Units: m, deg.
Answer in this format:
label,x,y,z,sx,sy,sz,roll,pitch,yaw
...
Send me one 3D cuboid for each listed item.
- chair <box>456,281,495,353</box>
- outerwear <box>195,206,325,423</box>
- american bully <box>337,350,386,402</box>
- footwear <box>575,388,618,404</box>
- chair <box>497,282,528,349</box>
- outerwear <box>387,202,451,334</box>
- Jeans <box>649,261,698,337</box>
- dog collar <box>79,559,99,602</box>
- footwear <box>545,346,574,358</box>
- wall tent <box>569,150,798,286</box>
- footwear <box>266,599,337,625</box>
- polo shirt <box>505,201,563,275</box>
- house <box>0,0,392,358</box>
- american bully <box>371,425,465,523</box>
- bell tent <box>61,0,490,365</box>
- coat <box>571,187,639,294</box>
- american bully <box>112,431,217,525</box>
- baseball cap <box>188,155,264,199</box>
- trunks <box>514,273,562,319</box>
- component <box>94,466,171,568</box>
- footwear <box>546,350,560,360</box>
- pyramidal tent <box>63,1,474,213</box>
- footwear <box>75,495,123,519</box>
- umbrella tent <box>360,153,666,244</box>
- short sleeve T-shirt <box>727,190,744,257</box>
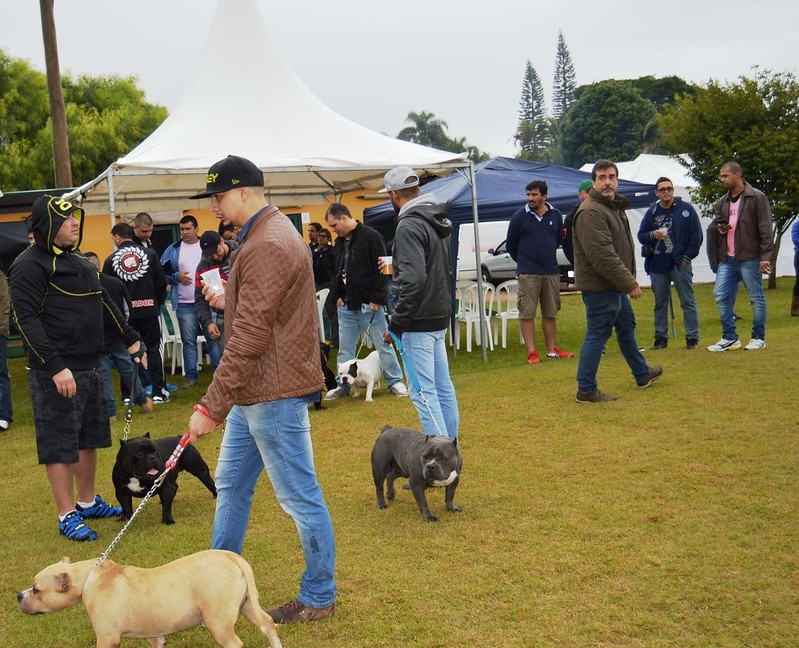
label,x,y,z,sx,sy,sz,roll,pitch,yaw
chair,1.105,-0.131,12.486,0.619,1.024,0.630,-2,3,-16
outerwear,-0.858,-0.087,4.891,0.737,1.182,0.433,-8,13,-17
american bully,-0.430,0.591,9.868,0.390,0.551,1.035,-1,12,21
footwear,2.051,0.723,8.496,0.401,0.188,0.161,-2,4,-3
chair,1.674,-0.153,12.282,0.492,0.869,0.524,15,9,-1
outerwear,0.204,-0.521,6.804,0.442,1.062,1.046,1,10,22
Jeans,3.603,-0.327,10.788,0.533,1.407,0.345,-4,-35,15
dog collar,-1.751,1.448,4.626,0.070,0.190,0.139,9,-4,27
footwear,2.175,0.364,11.084,0.437,0.209,0.150,-1,7,3
wall tent,8.101,-3.672,22.524,5.166,3.581,5.162,-1,11,1
footwear,-0.623,1.784,5.126,0.412,0.171,0.141,7,-12,-7
polo shirt,1.834,-1.149,10.950,0.735,0.977,0.585,1,0,-8
house,-2.320,-2.607,12.429,5.014,3.763,5.050,-7,9,-22
american bully,-0.004,1.101,6.312,0.422,0.596,0.939,-6,5,-37
bell tent,-1.145,-1.931,12.513,5.220,5.459,5.328,-1,16,1
coat,2.134,-0.877,8.441,0.601,1.048,1.168,-1,11,15
american bully,-1.970,1.246,6.712,0.623,0.717,1.099,-4,1,10
baseball cap,-1.038,-0.907,5.002,0.363,0.206,0.237,-5,15,-17
trunks,1.857,-0.417,10.927,0.614,0.619,0.359,-1,3,-8
component,-2.004,1.466,6.156,0.156,1.094,0.132,10,37,-52
footwear,2.078,0.414,11.004,0.184,0.116,0.088,-2,21,0
pyramidal tent,-2.056,-2.996,12.291,4.824,3.651,4.886,-6,12,-16
footwear,-2.440,1.498,6.676,0.415,0.198,0.147,1,4,-20
umbrella tent,1.225,-2.078,12.654,2.817,1.050,2.751,-14,15,-43
short sleeve T-shirt,4.099,-1.230,9.984,0.086,0.826,0.181,-18,20,-38
